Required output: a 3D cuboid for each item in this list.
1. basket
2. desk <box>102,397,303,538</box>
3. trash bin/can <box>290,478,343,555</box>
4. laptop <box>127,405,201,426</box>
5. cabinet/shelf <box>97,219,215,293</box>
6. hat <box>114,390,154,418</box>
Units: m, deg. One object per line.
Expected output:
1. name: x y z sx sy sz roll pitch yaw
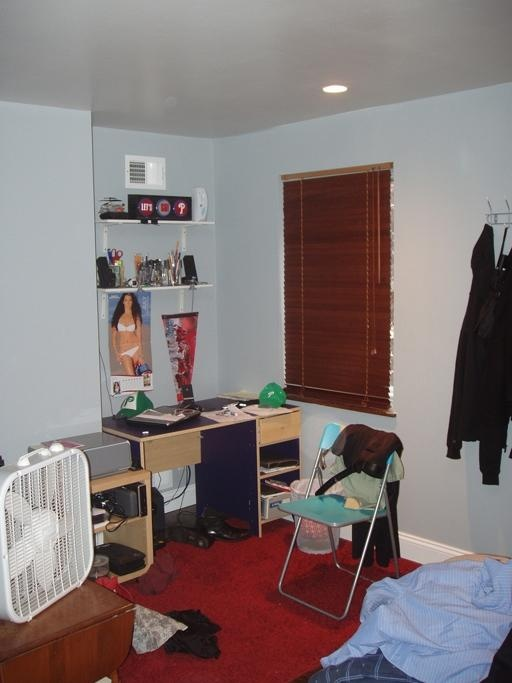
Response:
1. basket: 0.324 1.101 3.645 0.402 0.417 0.377 0 4 0
2. desk: -0.348 0.866 3.738 1.178 0.769 0.654 -4 5 -36
3. trash bin/can: 0.313 1.101 3.687 0.398 0.414 0.374 0 5 -7
4. laptop: -0.583 0.469 3.575 0.332 0.059 0.351 1 4 24
5. cabinet/shelf: -0.700 -0.586 3.897 0.824 0.417 0.252 -3 5 -22
6. hat: -0.801 0.414 3.749 0.142 0.119 0.221 -2 3 37
